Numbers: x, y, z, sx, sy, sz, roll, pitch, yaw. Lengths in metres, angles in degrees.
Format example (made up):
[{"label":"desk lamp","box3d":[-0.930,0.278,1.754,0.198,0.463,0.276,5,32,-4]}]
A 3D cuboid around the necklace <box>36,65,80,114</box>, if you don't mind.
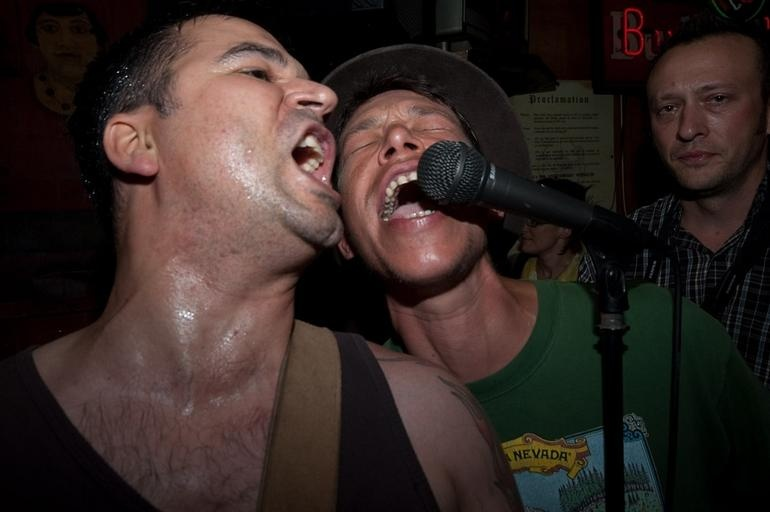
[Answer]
[{"label":"necklace","box3d":[-2.436,-1.264,4.822,0.265,0.066,0.273,-46,16,21]}]
